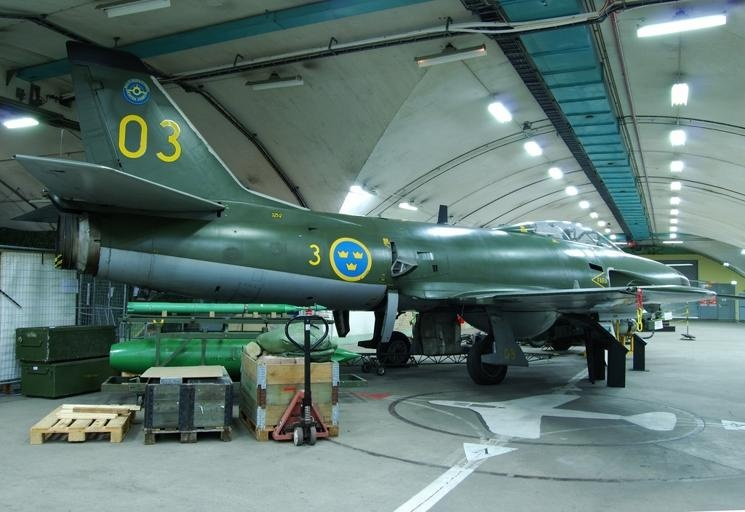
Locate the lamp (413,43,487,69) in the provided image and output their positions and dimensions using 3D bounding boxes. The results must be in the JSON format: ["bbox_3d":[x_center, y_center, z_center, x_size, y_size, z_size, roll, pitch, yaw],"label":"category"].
[{"bbox_3d":[1.852,-4.966,14.515,1.141,0.210,0.171,-4,-24,32],"label":"lamp"}]

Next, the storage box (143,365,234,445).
[{"bbox_3d":[-3.030,2.465,9.979,1.925,0.670,1.362,1,-3,-7],"label":"storage box"}]

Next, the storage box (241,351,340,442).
[{"bbox_3d":[-1.438,2.312,10.194,2.247,1.034,1.610,1,-2,-8],"label":"storage box"}]

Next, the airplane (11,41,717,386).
[{"bbox_3d":[0.605,-0.117,13.319,13.834,3.101,10.297,2,-2,-32],"label":"airplane"}]
